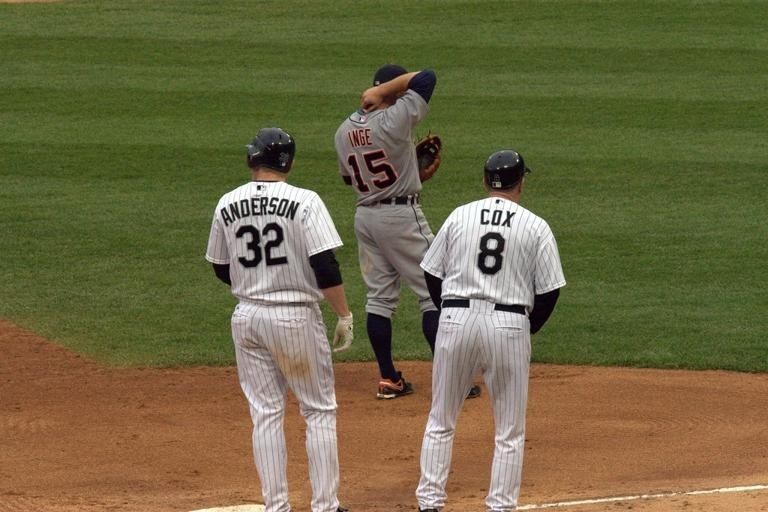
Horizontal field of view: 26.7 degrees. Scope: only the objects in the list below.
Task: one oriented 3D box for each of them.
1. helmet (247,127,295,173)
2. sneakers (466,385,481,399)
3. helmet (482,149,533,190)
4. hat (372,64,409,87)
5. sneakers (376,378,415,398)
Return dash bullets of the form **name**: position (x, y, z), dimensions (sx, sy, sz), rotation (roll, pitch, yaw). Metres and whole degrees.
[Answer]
- **helmet**: position (-1.223, -1.195, 18.413), dimensions (0.684, 0.436, 0.507), rotation (7, 8, 18)
- **sneakers**: position (1.092, 1.690, 20.015), dimensions (0.133, 0.134, 0.340), rotation (3, 20, 16)
- **helmet**: position (1.356, -1.026, 18.335), dimensions (0.474, 0.270, 0.580), rotation (6, 31, 22)
- **hat**: position (0.045, -2.243, 19.798), dimensions (0.381, 0.197, 0.265), rotation (-28, 16, -6)
- **sneakers**: position (0.134, 1.633, 20.237), dimensions (0.549, 0.231, 0.189), rotation (-5, 9, -23)
